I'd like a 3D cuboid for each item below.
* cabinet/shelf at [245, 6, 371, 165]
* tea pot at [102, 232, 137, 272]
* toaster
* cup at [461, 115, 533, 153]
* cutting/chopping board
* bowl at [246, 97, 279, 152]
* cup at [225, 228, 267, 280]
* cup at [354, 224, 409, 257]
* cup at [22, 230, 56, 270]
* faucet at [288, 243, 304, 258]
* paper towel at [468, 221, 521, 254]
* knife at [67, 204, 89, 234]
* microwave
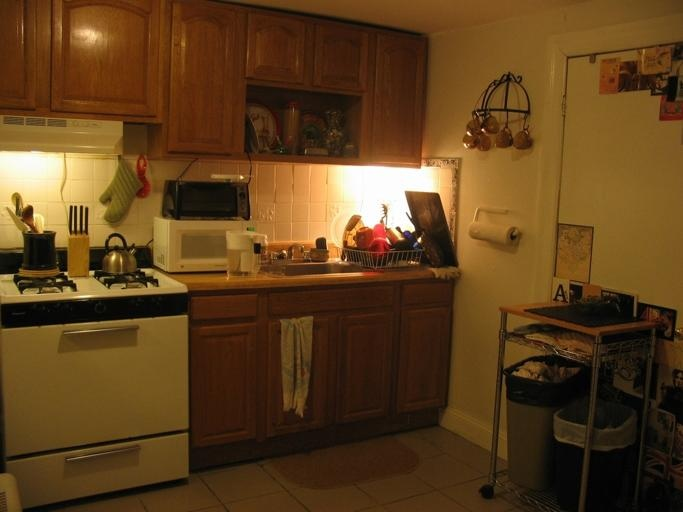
[{"bbox_3d":[-0.224,-1.140,3.785,0.865,0.879,0.281,-2,5,-30],"label":"cabinet/shelf"},{"bbox_3d":[-1.384,-0.018,3.469,0.194,0.273,0.258,0,-1,35],"label":"tea pot"},{"bbox_3d":[-0.826,-0.304,3.718,0.459,0.264,0.364,0,-12,-11],"label":"toaster"},{"bbox_3d":[0.965,-0.767,3.590,0.183,0.217,0.349,-5,12,-41],"label":"cup"},{"bbox_3d":[0.641,-0.207,3.983,0.153,0.699,0.419,-18,-13,40],"label":"cutting/chopping board"},{"bbox_3d":[-0.514,-0.875,3.880,0.052,0.327,0.312,-2,12,34],"label":"bowl"},{"bbox_3d":[-0.570,-0.022,3.483,0.232,0.259,0.210,-1,12,-13],"label":"cup"},{"bbox_3d":[0.299,-0.130,3.992,0.366,0.180,0.251,-5,14,-31],"label":"cup"},{"bbox_3d":[-1.678,-0.048,3.285,0.202,0.236,0.206,2,7,0],"label":"cup"},{"bbox_3d":[-0.314,-0.039,4.060,0.108,0.080,0.068,1,12,-6],"label":"faucet"},{"bbox_3d":[0.972,-0.127,3.684,0.121,0.170,0.351,-8,16,-41],"label":"paper towel"},{"bbox_3d":[-1.580,-0.223,3.486,0.121,0.211,0.350,-3,13,-24],"label":"knife"},{"bbox_3d":[-0.934,-0.120,3.609,0.462,0.317,0.339,-2,6,-29],"label":"microwave"}]
